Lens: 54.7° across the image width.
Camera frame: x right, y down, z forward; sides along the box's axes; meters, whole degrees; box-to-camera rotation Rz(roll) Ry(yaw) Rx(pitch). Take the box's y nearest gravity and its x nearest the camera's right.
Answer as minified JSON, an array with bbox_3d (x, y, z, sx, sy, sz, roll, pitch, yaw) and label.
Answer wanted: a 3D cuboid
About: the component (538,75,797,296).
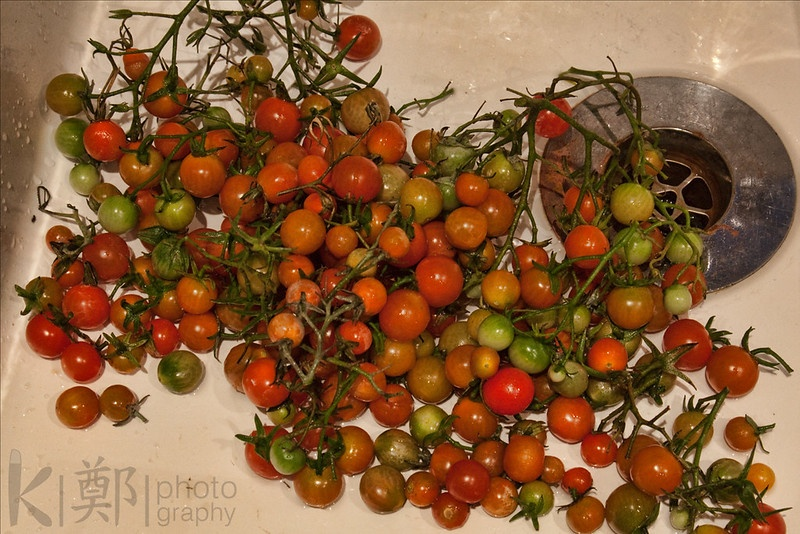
[{"bbox_3d":[0.754,-0.165,1.859,0.507,0.567,0.127,-2,-4,0],"label":"component"}]
